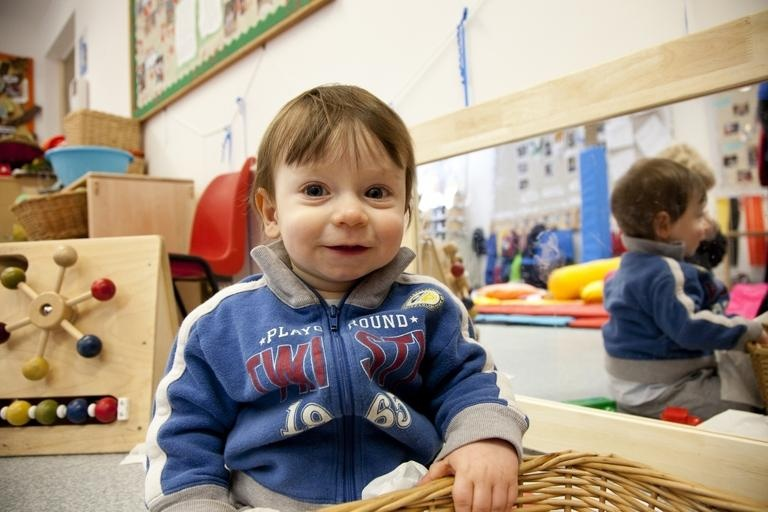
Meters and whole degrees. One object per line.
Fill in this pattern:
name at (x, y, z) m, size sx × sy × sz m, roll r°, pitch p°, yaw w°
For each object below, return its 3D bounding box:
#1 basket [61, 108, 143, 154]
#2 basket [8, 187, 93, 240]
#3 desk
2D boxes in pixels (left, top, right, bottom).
basket at (-1.372, -0.608, 2.878) m, size 0.134 × 0.165 × 0.434 m, roll -2°, pitch 1°, yaw 16°
basket at (-1.187, -0.142, 2.092) m, size 0.208 × 0.111 × 0.226 m, roll -6°, pitch -1°, yaw 0°
desk at (-1.017, -0.049, 2.434) m, size 0.299 × 0.481 × 0.524 m, roll -3°, pitch -3°, yaw 38°
